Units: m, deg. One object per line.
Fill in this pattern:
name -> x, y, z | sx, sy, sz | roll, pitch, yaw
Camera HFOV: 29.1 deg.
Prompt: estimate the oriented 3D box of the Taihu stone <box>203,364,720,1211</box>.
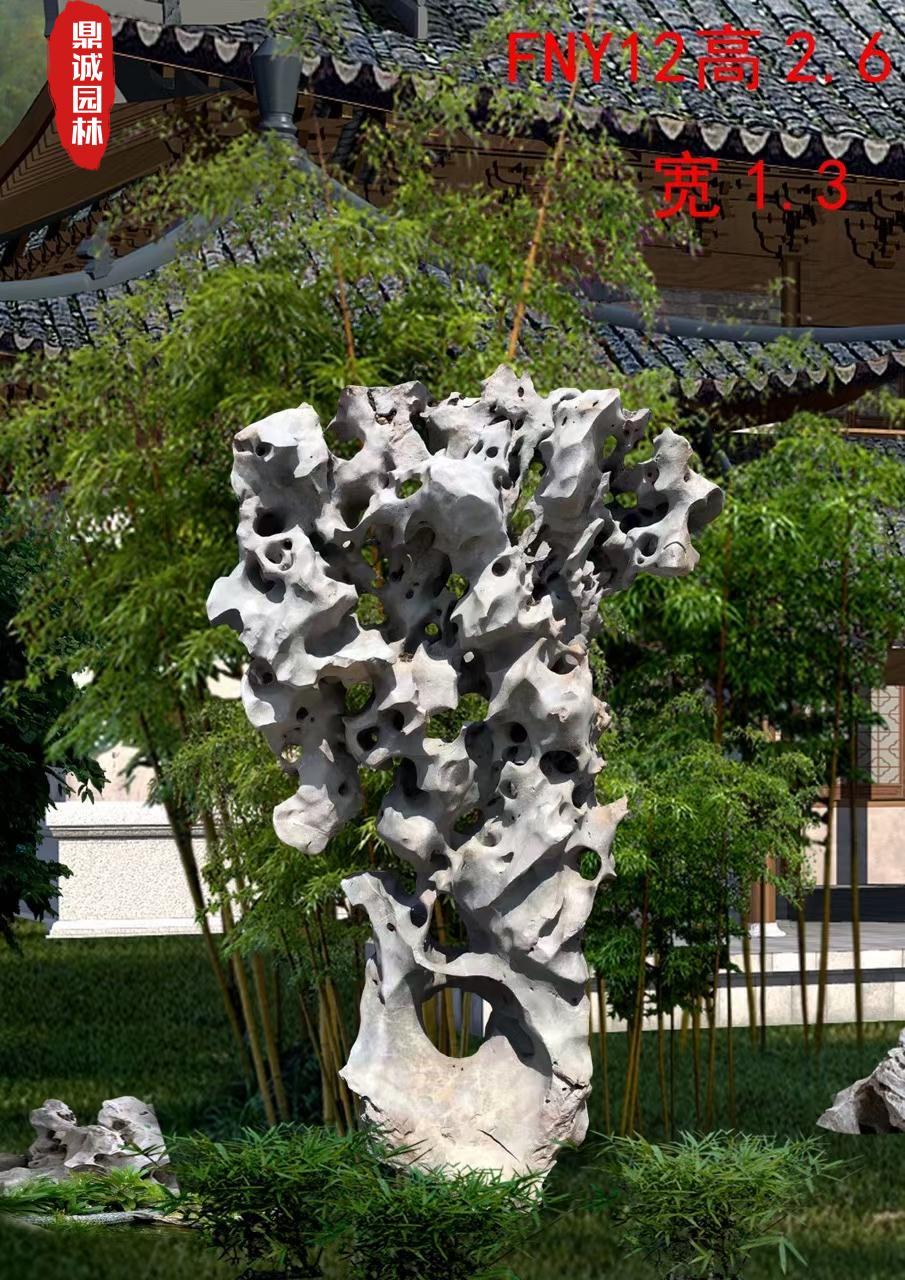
Taihu stone -> 0.039, 0.289, 4.053 | 1.183, 1.832, 0.631 | -2, 4, -11
